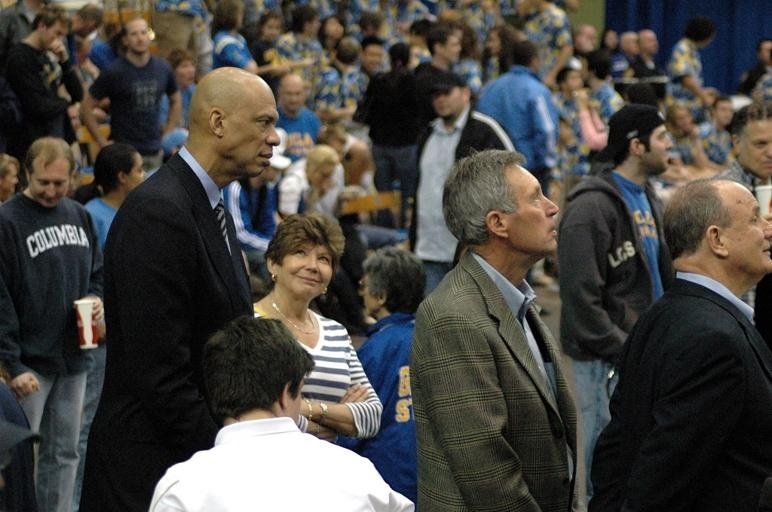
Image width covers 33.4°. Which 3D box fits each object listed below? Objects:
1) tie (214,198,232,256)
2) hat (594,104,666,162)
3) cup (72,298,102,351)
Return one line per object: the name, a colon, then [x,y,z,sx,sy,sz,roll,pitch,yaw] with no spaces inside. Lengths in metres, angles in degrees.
tie: [-1.007,-0.157,7.842,0.071,0.098,0.354,-13,57,-11]
hat: [1.777,-0.930,9.670,0.517,0.312,0.358,-23,13,14]
cup: [-2.183,0.509,9.290,0.168,0.368,0.110,2,10,-13]
